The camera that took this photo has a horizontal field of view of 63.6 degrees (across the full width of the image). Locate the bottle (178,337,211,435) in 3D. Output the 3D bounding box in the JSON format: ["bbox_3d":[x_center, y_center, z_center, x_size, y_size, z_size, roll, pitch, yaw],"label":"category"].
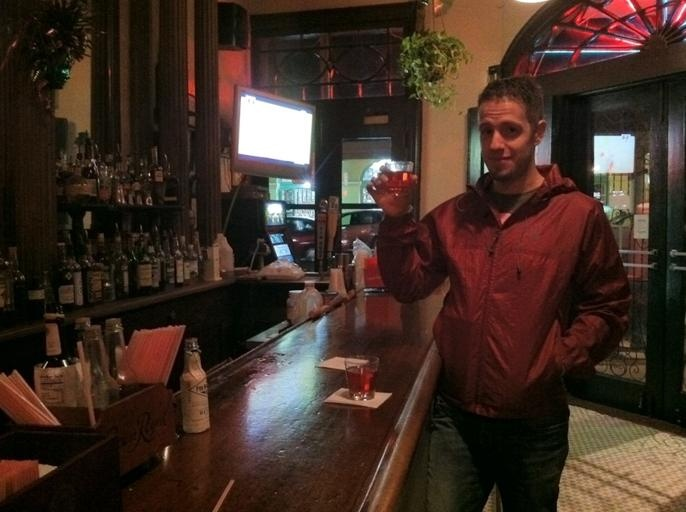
[{"bbox_3d":[-0.462,0.379,1.705,0.087,0.291,0.203,-4,5,-15],"label":"bottle"}]

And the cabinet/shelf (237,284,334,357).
[{"bbox_3d":[-0.287,0.344,3.251,0.390,0.230,0.551,-2,2,8],"label":"cabinet/shelf"}]

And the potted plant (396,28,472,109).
[{"bbox_3d":[0.675,-1.497,4.197,0.445,0.399,0.427,-13,14,-26],"label":"potted plant"}]

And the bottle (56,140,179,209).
[{"bbox_3d":[-1.571,-0.551,3.828,0.334,0.449,1.146,4,6,29],"label":"bottle"}]

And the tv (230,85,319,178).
[{"bbox_3d":[-0.618,-1.073,4.877,0.131,0.915,1.316,0,1,39],"label":"tv"}]

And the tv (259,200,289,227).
[{"bbox_3d":[-0.711,-0.433,5.722,0.234,0.372,0.440,-1,0,18],"label":"tv"}]

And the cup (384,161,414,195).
[{"bbox_3d":[0.237,-0.329,2.303,0.132,0.104,0.119,-4,6,-30],"label":"cup"}]

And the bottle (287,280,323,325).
[{"bbox_3d":[-0.207,0.284,3.417,0.274,0.239,0.174,0,1,42],"label":"bottle"}]

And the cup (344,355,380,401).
[{"bbox_3d":[0.069,0.427,1.961,0.127,0.140,0.131,-1,0,0],"label":"cup"}]

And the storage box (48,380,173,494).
[{"bbox_3d":[-0.590,0.396,1.446,0.191,0.166,0.375,1,1,11],"label":"storage box"}]
